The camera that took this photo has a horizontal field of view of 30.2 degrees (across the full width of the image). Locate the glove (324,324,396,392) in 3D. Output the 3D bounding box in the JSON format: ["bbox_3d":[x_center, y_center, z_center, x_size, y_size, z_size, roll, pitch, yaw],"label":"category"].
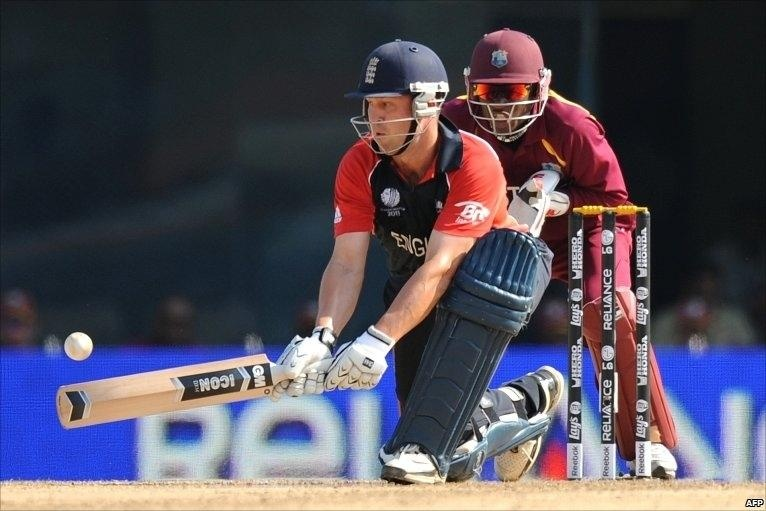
[{"bbox_3d":[-0.114,0.512,6.788,0.340,0.256,0.152,-41,10,-2],"label":"glove"}]

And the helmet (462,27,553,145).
[{"bbox_3d":[0.664,-0.908,7.525,0.478,0.554,0.566,-2,14,4],"label":"helmet"}]

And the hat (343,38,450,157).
[{"bbox_3d":[0.083,-0.781,7.016,0.463,0.550,0.529,1,11,30],"label":"hat"}]

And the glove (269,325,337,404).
[{"bbox_3d":[-0.381,0.538,6.827,0.365,0.150,0.376,14,33,12],"label":"glove"}]

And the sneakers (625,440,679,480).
[{"bbox_3d":[1.408,1.064,7.330,0.154,0.175,0.286,0,0,43],"label":"sneakers"}]

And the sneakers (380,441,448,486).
[{"bbox_3d":[0.133,1.000,6.729,0.265,0.106,0.155,4,4,-41],"label":"sneakers"}]
